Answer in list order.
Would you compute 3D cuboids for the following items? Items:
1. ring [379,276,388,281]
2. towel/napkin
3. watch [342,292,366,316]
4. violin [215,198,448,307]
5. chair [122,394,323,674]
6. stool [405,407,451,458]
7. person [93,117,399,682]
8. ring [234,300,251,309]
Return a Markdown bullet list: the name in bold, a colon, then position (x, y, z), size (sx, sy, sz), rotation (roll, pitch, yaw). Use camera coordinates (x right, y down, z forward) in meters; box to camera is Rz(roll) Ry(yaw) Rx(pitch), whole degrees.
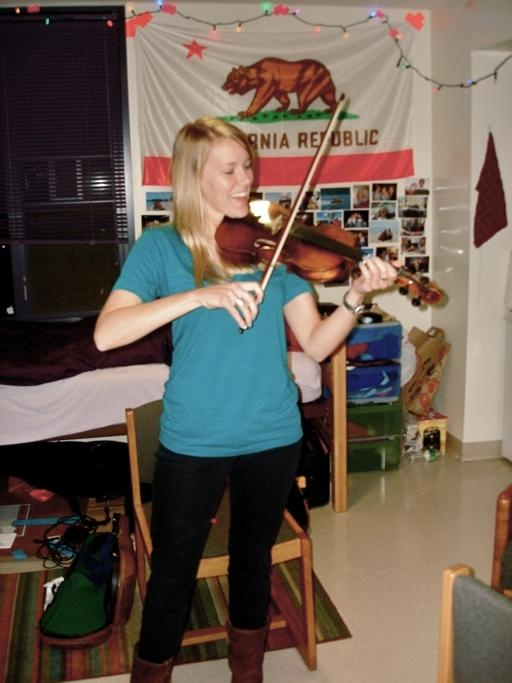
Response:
- **ring**: position (0.232, -0.113, 0.996), size (0.010, 0.007, 0.003), rotation (-6, 14, 30)
- **towel/napkin**: position (1.210, -0.765, 2.786), size (0.188, 0.570, 0.072), rotation (-3, 9, -3)
- **watch**: position (0.202, -0.080, 1.097), size (0.027, 0.045, 0.046), rotation (-37, -8, -8)
- **violin**: position (0.166, -0.227, 1.403), size (0.582, 0.087, 0.228), rotation (13, 0, 15)
- **chair**: position (-0.143, 0.575, 1.697), size (0.623, 0.870, 0.669), rotation (-4, 2, 0)
- **stool**: position (0.952, 0.506, 3.084), size (0.253, 0.233, 0.242), rotation (0, 2, -4)
- **person**: position (-0.030, 0.212, 1.128), size (0.541, 1.319, 0.407), rotation (-5, 10, -17)
- **ring**: position (-0.024, -0.059, 0.886), size (0.019, 0.014, 0.019), rotation (-2, 9, 0)
